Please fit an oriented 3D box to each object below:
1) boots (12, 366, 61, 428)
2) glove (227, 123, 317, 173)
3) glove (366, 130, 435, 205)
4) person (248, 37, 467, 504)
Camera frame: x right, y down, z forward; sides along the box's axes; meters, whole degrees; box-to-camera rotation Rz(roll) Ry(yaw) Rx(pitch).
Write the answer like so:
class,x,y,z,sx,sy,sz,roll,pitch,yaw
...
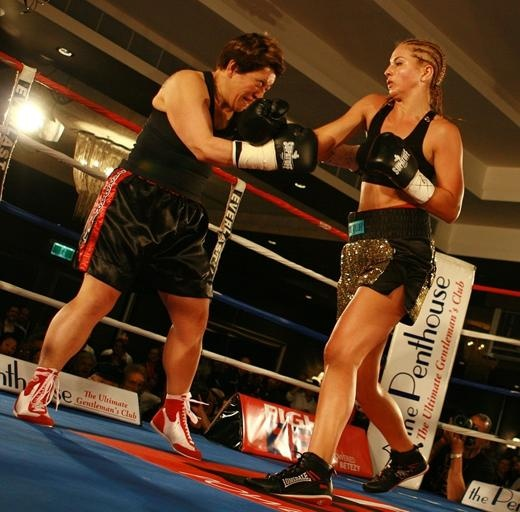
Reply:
class,x,y,z,sx,sy,sz,roll,pitch,yaw
boots,-0.654,0.420,1.490,0.115,0.181,0.134,25,-8,-23
glove,0.038,-0.321,1.527,0.245,0.080,0.177,1,3,14
glove,0.409,-0.259,1.512,0.245,0.145,0.096,37,-29,-31
person,0.345,-0.047,1.619,0.510,1.152,0.448,16,-11,44
